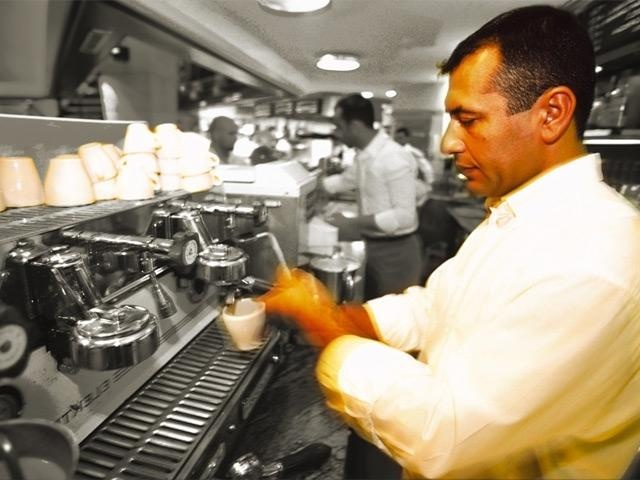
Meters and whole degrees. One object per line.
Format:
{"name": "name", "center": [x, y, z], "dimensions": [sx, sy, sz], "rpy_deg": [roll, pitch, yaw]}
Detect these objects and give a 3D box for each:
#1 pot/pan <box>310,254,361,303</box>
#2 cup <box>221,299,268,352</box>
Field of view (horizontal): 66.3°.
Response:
{"name": "pot/pan", "center": [0.013, 0.155, 1.938], "dimensions": [0.232, 0.144, 0.151], "rpy_deg": [7, 10, 41]}
{"name": "cup", "center": [-0.224, 0.266, 1.599], "dimensions": [0.169, 0.127, 0.161], "rpy_deg": [-1, 13, 0]}
